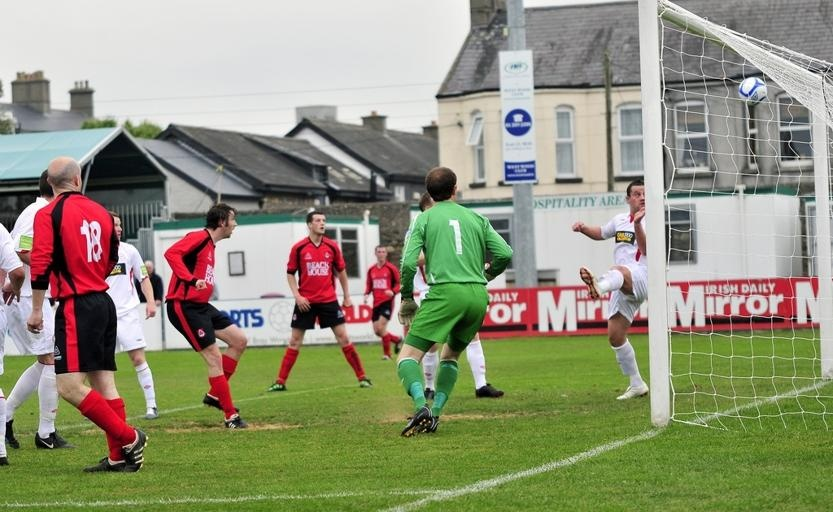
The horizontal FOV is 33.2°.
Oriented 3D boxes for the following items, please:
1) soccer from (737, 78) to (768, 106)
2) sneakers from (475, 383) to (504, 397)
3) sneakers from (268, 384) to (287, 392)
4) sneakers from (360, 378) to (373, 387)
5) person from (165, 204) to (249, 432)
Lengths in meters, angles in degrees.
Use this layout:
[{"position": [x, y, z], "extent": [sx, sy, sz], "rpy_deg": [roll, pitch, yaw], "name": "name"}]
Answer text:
[{"position": [6.984, -3.464, 29.014], "extent": [0.527, 0.522, 0.705], "rpy_deg": [1, 10, 12], "name": "soccer"}, {"position": [1.422, 2.611, 27.009], "extent": [0.466, 0.243, 0.248], "rpy_deg": [-2, 1, 8], "name": "sneakers"}, {"position": [-2.824, 2.729, 28.841], "extent": [0.415, 0.176, 0.147], "rpy_deg": [3, 1, -3], "name": "sneakers"}, {"position": [-1.018, 2.623, 28.784], "extent": [0.134, 0.142, 0.228], "rpy_deg": [6, -7, -14], "name": "sneakers"}, {"position": [-3.729, 1.028, 25.929], "extent": [1.524, 3.951, 1.058], "rpy_deg": [3, 10, 28], "name": "person"}]
